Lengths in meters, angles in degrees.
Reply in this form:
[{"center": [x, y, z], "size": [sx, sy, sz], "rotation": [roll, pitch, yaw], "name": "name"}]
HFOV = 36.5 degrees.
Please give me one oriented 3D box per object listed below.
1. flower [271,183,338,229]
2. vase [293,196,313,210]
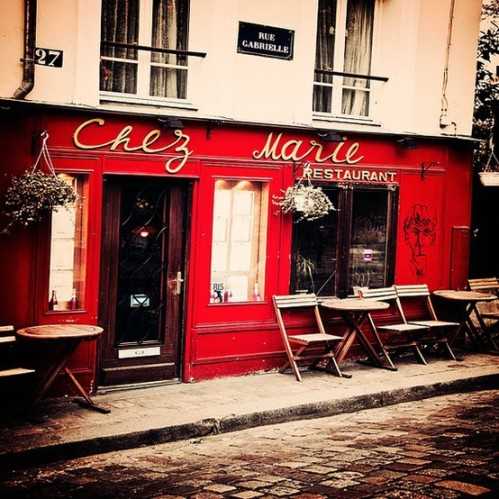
[{"center": [0.759, -0.610, 10.501], "size": [0.648, 0.353, 0.635], "rotation": [-1, 4, -43], "name": "flower"}, {"center": [0.730, -0.630, 10.385], "size": [0.327, 0.225, 0.177], "rotation": [0, 6, 0], "name": "vase"}]
